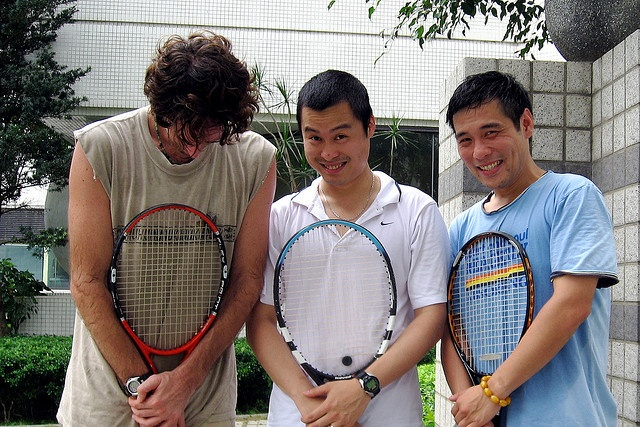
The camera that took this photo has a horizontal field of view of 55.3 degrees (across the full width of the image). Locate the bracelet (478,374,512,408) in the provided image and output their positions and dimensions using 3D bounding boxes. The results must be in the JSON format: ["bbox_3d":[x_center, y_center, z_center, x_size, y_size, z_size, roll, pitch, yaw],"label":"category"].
[{"bbox_3d":[1.011,1.025,3.532,0.161,0.173,0.081,-2,-3,21],"label":"bracelet"}]
